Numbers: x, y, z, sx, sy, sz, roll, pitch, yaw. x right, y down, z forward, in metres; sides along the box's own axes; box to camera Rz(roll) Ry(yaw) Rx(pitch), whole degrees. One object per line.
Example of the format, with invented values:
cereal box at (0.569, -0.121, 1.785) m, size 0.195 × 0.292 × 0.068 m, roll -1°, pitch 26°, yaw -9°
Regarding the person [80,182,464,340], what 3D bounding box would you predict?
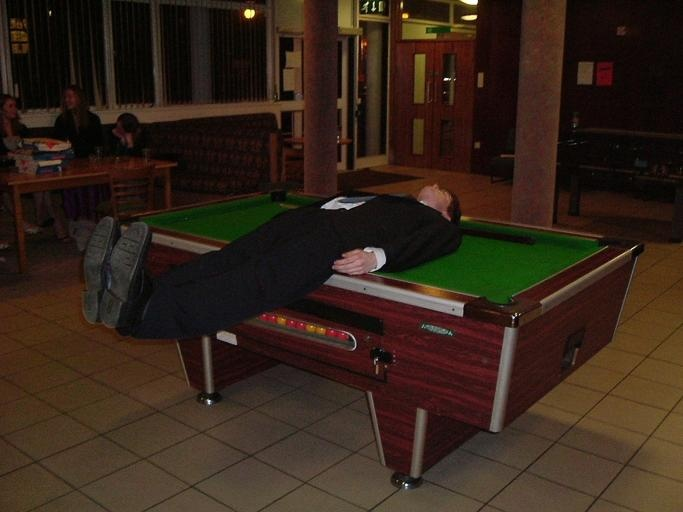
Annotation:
person at (-0.179, 0.013, 2.696) m, size 1.908 × 0.442 × 0.785 m, roll -11°, pitch 20°, yaw -18°
